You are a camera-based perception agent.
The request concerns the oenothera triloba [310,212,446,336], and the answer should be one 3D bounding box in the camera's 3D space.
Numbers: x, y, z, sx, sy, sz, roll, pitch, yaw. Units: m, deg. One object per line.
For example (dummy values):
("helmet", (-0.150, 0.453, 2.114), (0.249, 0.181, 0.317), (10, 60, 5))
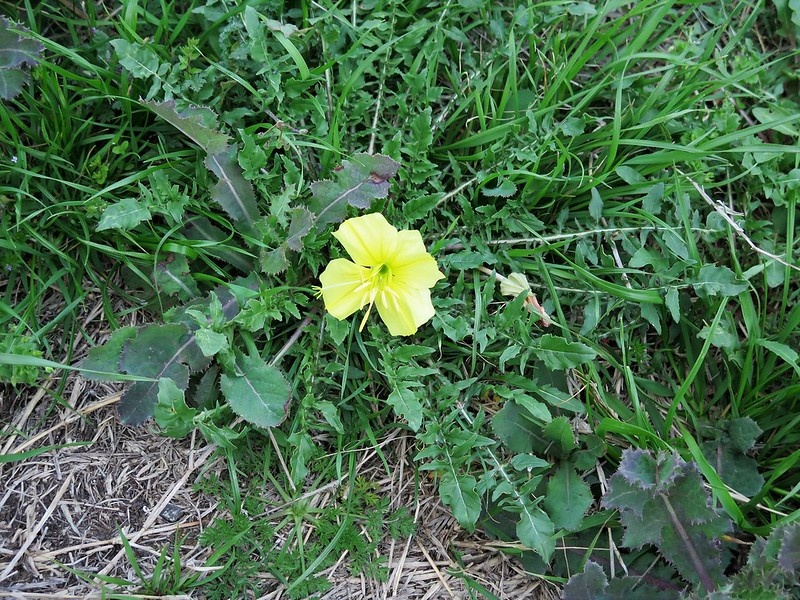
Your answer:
("oenothera triloba", (-0.100, -0.103, 2.652), (0.549, 0.538, 0.227), (-28, 66, 20))
